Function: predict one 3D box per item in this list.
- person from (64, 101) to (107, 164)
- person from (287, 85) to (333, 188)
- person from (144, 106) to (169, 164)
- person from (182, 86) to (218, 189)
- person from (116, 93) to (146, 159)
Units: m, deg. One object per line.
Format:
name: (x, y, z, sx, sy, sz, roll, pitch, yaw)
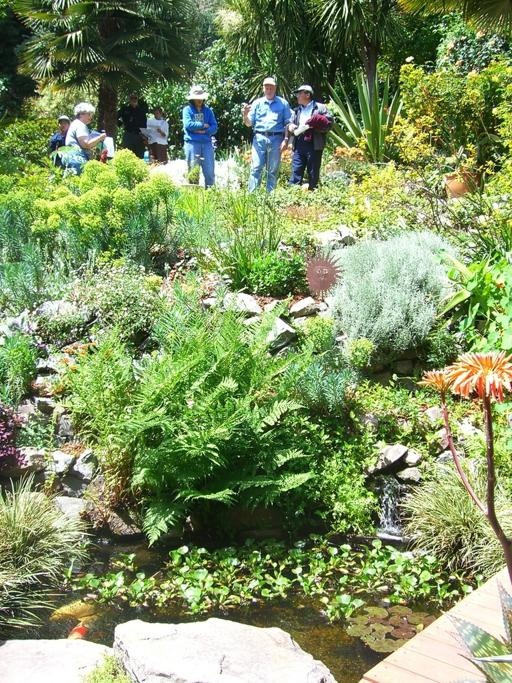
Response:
person: (-2.161, -2.635, 7.586, 0.447, 0.748, 0.516, -5, 12, -18)
person: (0.730, -2.780, 8.233, 0.579, 1.384, 0.741, -1, 12, 4)
person: (-1.952, -4.033, 11.899, 0.430, 1.121, 0.980, -3, 12, -8)
person: (-0.857, -3.092, 9.154, 0.496, 1.512, 0.914, -3, 12, -5)
person: (-2.514, -4.431, 12.442, 0.541, 1.323, 1.749, -4, 11, -10)
